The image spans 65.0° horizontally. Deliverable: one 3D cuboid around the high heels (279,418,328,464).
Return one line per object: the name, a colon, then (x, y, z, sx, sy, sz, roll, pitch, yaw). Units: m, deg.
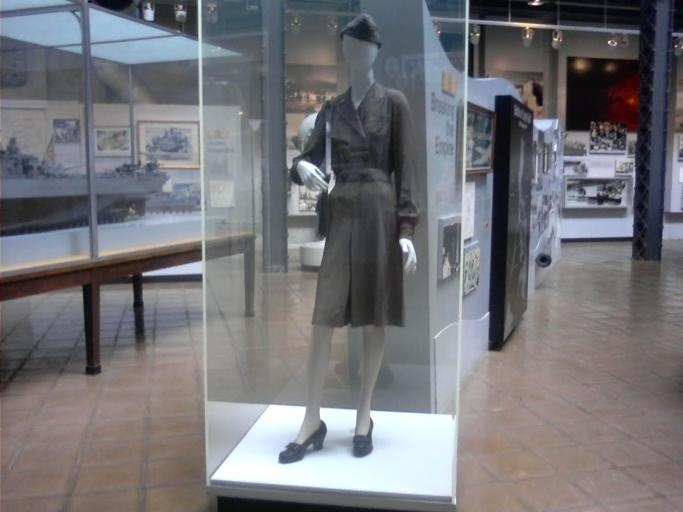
high heels: (-0.160, 0.843, 2.444, 0.268, 0.170, 0.089, 0, -5, -40)

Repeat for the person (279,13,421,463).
person: (0.070, -0.077, 2.345, 0.529, 1.872, 0.262, -1, 7, -6)

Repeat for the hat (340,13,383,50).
hat: (0.093, -0.952, 2.316, 0.148, 0.103, 0.114, 14, 6, -21)
